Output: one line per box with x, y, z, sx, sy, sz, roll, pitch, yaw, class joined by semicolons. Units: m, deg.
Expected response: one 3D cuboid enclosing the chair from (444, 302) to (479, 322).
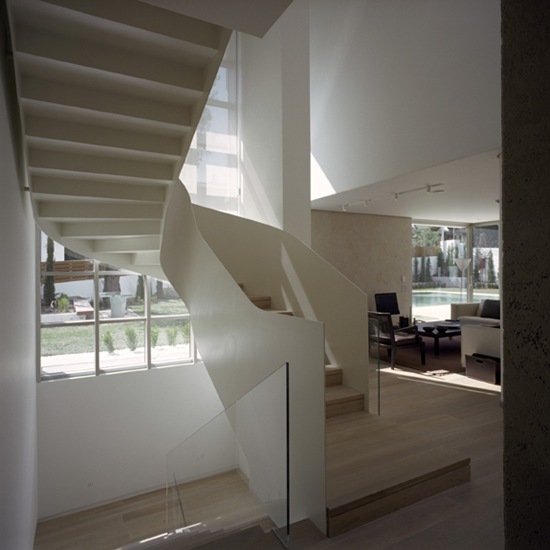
3.773;0.730;8.931;0.417;0.556;0.436;-1;-4;44;chair

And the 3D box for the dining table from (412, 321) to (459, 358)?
2.919;1.088;7.914;0.670;0.625;1.445;8;7;22;dining table
